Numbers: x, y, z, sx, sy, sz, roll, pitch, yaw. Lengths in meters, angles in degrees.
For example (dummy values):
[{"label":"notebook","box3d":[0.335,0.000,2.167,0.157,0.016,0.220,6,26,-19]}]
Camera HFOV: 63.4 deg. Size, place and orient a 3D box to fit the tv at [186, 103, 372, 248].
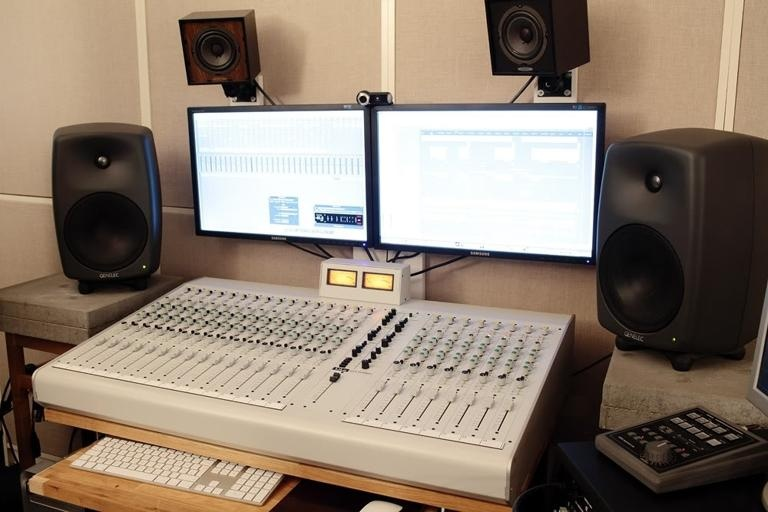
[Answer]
[{"label":"tv","box3d":[-0.366,-0.318,2.323,0.592,0.383,0.014,3,14,17]}]
